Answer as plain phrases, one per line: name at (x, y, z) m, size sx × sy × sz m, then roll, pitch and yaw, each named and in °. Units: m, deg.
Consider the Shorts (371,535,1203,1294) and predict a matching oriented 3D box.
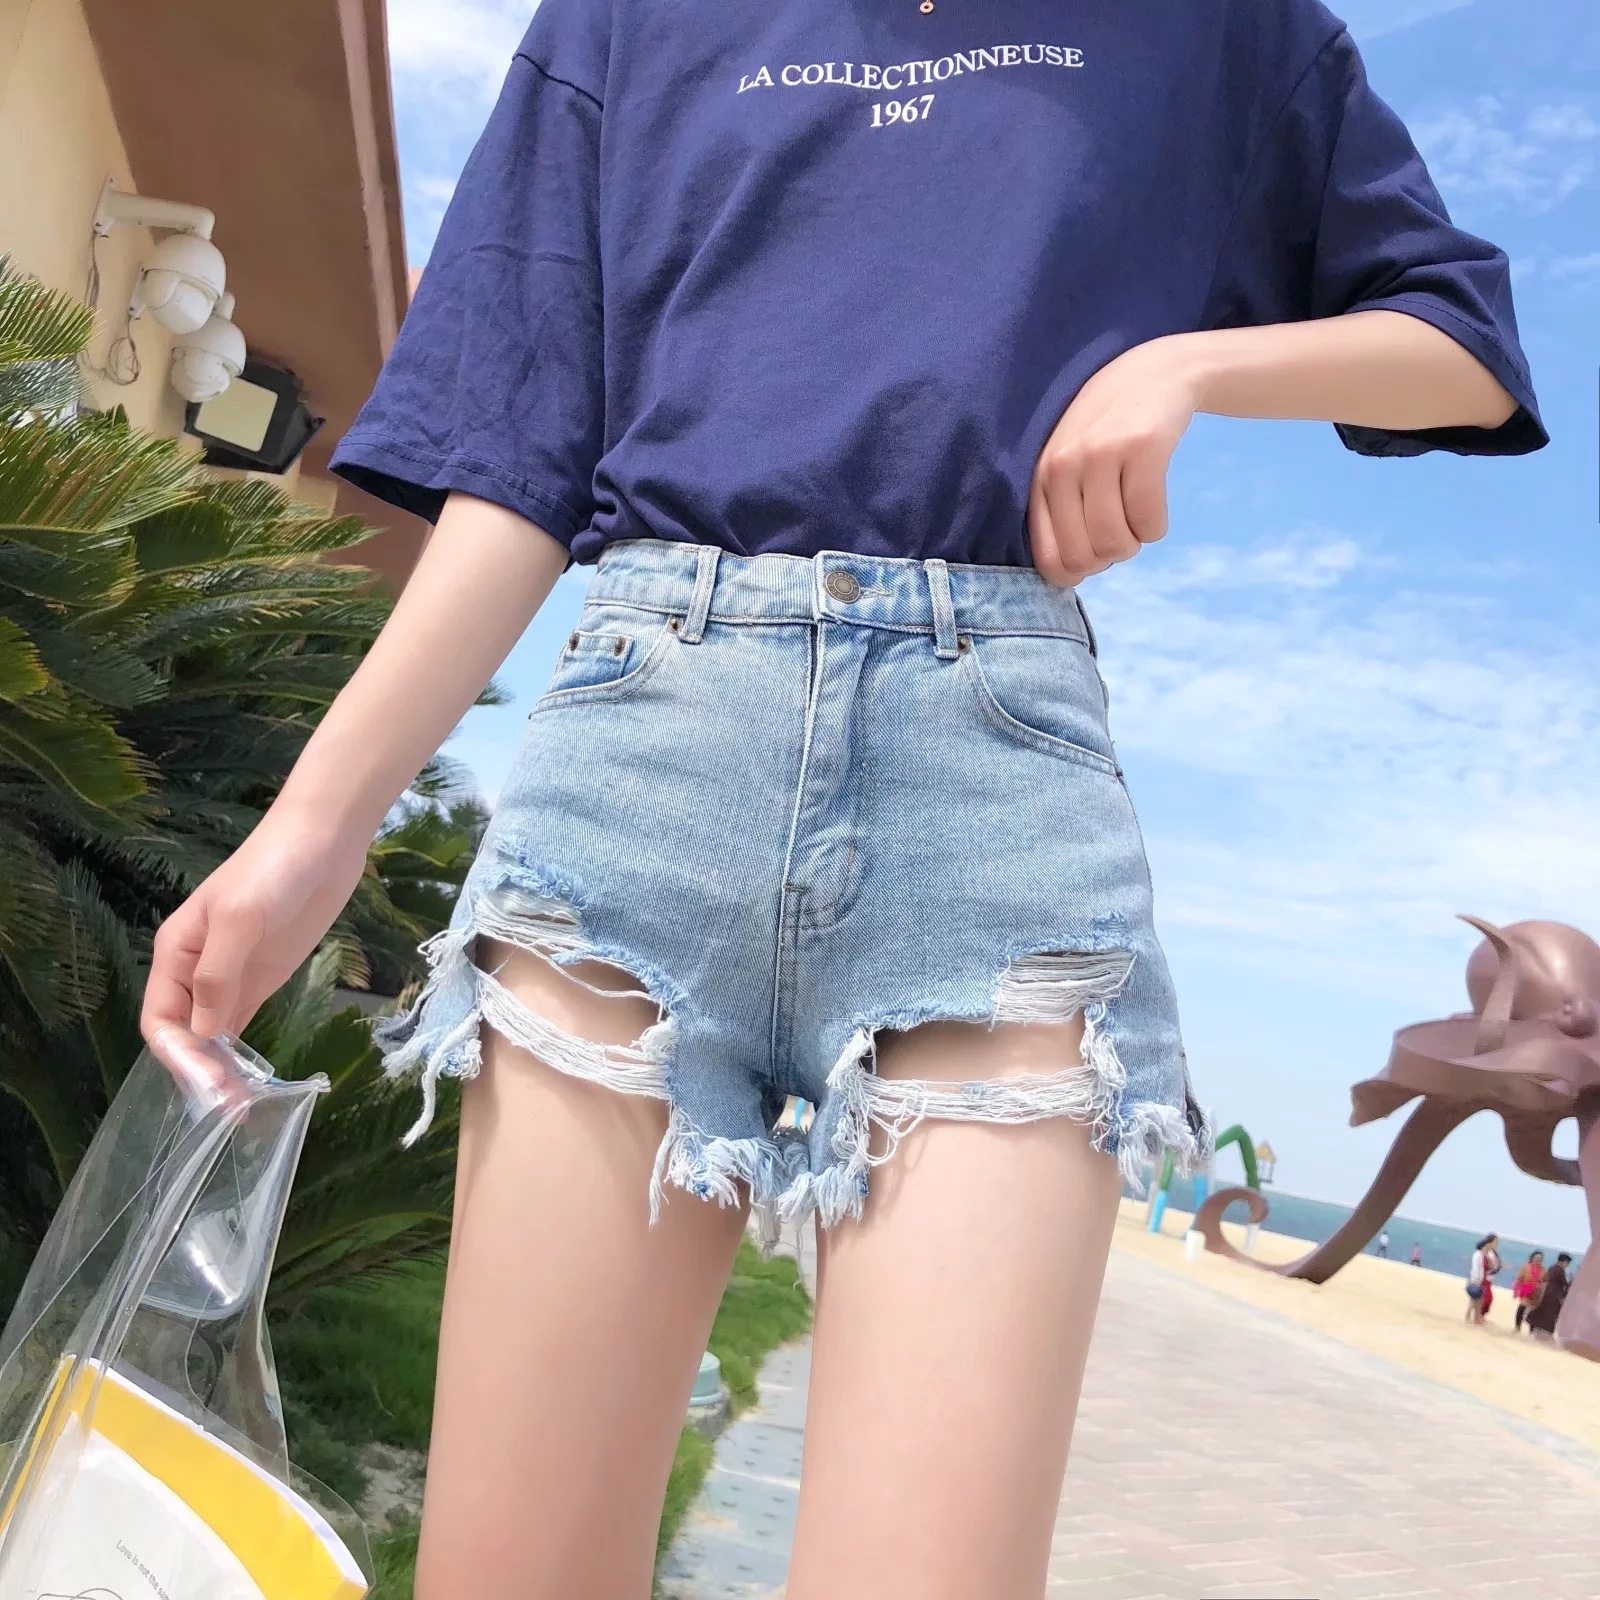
Shorts at (0.020, 0.053, 0.871) m, size 0.561 × 0.462 × 0.170 m, roll 15°, pitch -2°, yaw 19°
